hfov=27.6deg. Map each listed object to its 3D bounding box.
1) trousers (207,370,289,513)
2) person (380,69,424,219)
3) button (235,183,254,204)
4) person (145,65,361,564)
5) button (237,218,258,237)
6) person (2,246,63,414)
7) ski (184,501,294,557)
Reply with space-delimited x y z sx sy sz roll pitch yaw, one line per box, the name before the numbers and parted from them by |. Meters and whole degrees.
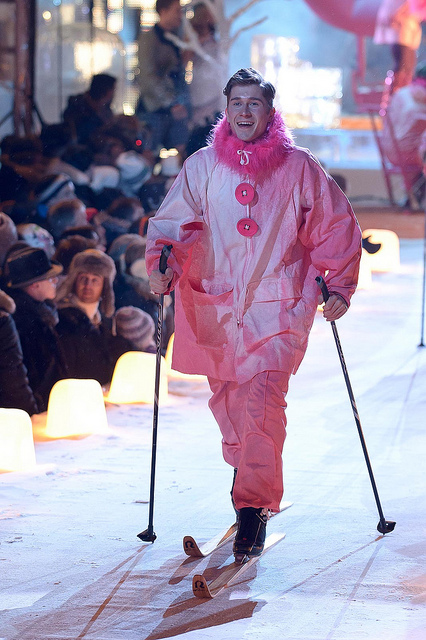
trousers | 0.120 0.420 2.975 0.194 0.176 0.561 -10 -24 1
person | 3.051 -2.842 13.925 0.667 2.106 1.161 0 9 8
button | 0.097 -0.416 2.838 0.070 0.059 0.017 -3 -1 24
person | 0.146 -0.054 3.007 0.598 1.603 0.592 -8 11 -35
button | 0.111 -0.307 2.855 0.068 0.060 0.029 -1 9 1
person | -0.956 0.064 4.667 0.114 0.913 0.368 3 10 24
ski | 0.127 0.707 2.968 0.067 0.071 0.599 -23 -12 42
